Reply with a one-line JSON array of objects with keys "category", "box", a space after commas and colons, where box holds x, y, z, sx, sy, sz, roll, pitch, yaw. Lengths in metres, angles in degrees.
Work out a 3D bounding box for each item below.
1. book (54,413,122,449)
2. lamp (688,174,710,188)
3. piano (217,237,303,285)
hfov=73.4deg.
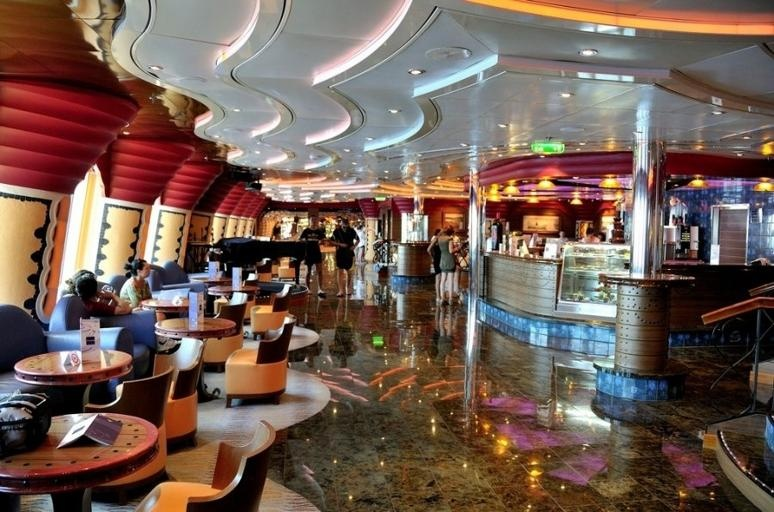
[{"category": "book", "box": [-2.048, 1.193, 3.646, 0.362, 0.119, 0.367, 0, 8, -6]}, {"category": "lamp", "box": [8.307, -1.985, 13.892, 0.608, 0.257, 0.519, 0, 3, 5]}, {"category": "piano", "box": [-3.616, 0.017, 14.817, 1.963, 0.856, 1.289, 1, 0, -27]}]
